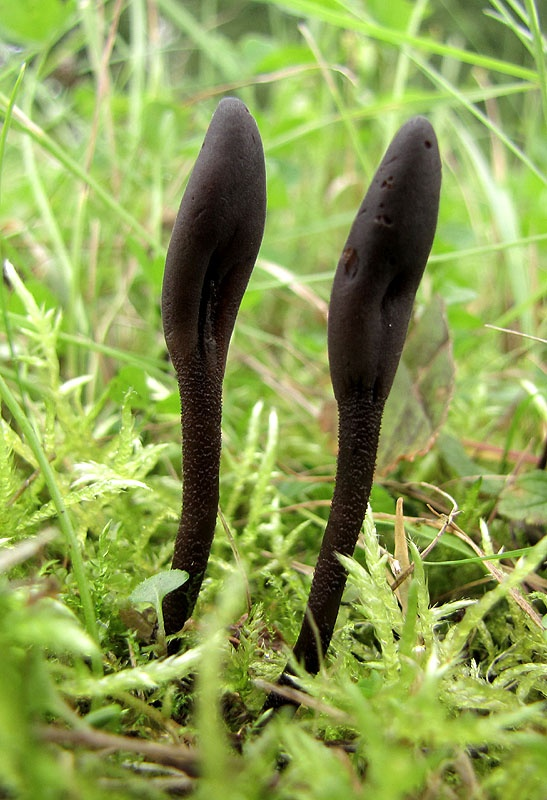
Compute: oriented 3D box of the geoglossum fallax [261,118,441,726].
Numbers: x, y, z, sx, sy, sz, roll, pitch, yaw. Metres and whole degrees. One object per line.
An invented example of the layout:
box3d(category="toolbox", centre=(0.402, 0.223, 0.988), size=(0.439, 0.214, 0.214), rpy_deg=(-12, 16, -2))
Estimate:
box3d(category="geoglossum fallax", centre=(0.082, 0.015, 0.869), size=(0.107, 0.620, 0.318), rpy_deg=(15, 27, 1))
